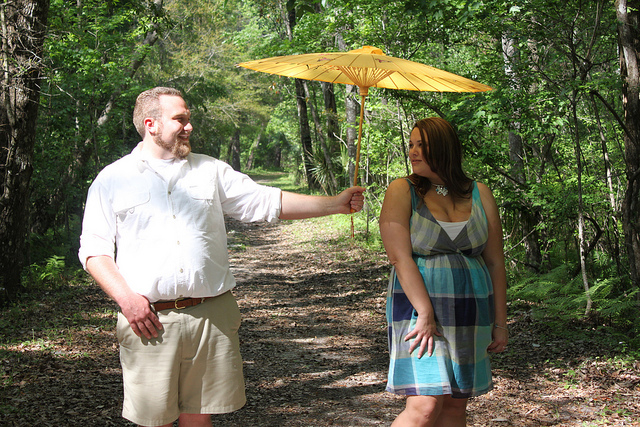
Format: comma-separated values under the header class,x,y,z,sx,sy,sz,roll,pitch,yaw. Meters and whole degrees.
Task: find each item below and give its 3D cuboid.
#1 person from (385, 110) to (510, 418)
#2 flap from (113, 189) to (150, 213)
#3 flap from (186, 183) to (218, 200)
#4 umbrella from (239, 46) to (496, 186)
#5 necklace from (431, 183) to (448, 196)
class,x,y,z,sx,sy,sz,roll,pitch,yaw
person,1.316,0.522,6.895,1.253,3.097,0.402,-2,0,5
flap,-1.958,-0.141,6.850,0.375,0.234,0.041,-2,0,-7
flap,-1.235,-0.242,6.963,0.301,0.191,0.168,-5,-17,-15
umbrella,0.485,-1.520,7.820,2.113,1.222,1.802,3,-12,2
necklace,1.290,-0.248,6.885,0.085,0.108,0.037,-43,-6,13
